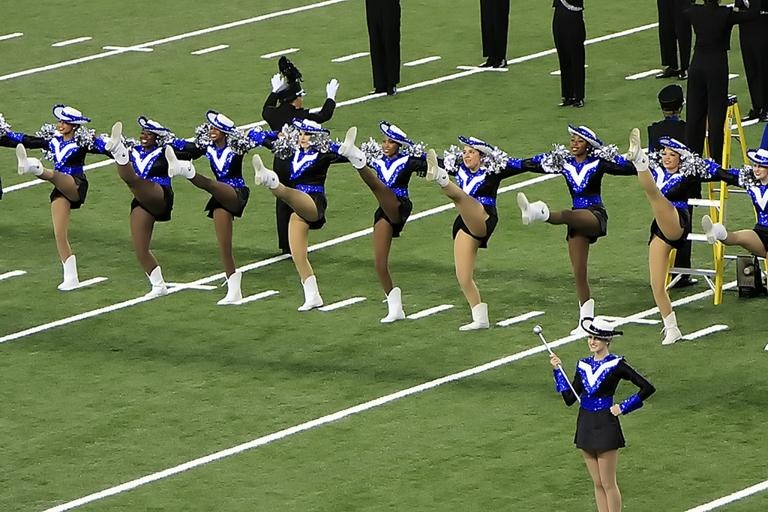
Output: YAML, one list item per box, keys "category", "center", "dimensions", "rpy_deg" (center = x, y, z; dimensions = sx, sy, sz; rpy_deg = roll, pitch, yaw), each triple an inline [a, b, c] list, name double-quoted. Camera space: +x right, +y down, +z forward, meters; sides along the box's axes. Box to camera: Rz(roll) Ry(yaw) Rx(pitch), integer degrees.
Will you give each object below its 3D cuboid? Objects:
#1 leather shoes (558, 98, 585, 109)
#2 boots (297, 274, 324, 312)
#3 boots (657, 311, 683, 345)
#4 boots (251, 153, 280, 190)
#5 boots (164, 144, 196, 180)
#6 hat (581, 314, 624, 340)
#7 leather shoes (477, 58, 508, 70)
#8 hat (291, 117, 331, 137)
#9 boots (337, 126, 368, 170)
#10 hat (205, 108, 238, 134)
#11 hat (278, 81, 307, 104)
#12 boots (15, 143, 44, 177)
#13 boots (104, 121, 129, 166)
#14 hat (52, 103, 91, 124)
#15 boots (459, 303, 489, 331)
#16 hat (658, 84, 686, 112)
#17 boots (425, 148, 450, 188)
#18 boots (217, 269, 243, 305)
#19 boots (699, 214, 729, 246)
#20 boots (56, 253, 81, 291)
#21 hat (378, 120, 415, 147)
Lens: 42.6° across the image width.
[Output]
- category: "leather shoes"
  center: [3.233, -2.630, 16.970]
  dimensions: [0.532, 0.163, 0.150]
  rpy_deg: [2, 11, 6]
- category: "boots"
  center: [-0.885, 0.413, 11.694]
  dimensions: [0.285, 0.400, 0.405]
  rpy_deg: [-7, 11, 1]
- category: "boots"
  center: [3.023, 0.724, 10.371]
  dimensions: [0.212, 0.321, 0.394]
  rpy_deg: [-4, 11, 15]
- category: "boots"
  center: [-1.327, -0.940, 11.095]
  dimensions: [0.263, 0.429, 0.571]
  rpy_deg: [-9, 11, -5]
- category: "boots"
  center: [-2.360, -1.078, 11.400]
  dimensions: [0.312, 0.404, 0.368]
  rpy_deg: [-9, 11, -10]
- category: "hat"
  center: [1.710, 0.547, 7.692]
  dimensions: [0.395, 0.108, 0.384]
  rpy_deg: [15, 11, 19]
- category: "leather shoes"
  center: [2.130, -3.692, 19.039]
  dimensions: [0.505, 0.135, 0.214]
  rpy_deg: [5, 26, 1]
- category: "hat"
  center: [-0.867, -1.538, 11.660]
  dimensions: [0.351, 0.076, 0.281]
  rpy_deg: [14, 6, 9]
- category: "boots"
  center: [-0.362, -1.206, 11.079]
  dimensions: [0.313, 0.465, 0.407]
  rpy_deg: [-8, 11, -1]
- category: "hat"
  center: [-1.988, -1.620, 11.966]
  dimensions: [0.433, 0.101, 0.385]
  rpy_deg: [25, 18, -19]
- category: "hat"
  center: [-1.223, -2.142, 12.932]
  dimensions: [0.375, 0.165, 0.246]
  rpy_deg: [-25, 19, 8]
- category: "boots"
  center: [-4.399, -1.187, 12.263]
  dimensions: [0.252, 0.250, 0.652]
  rpy_deg: [16, 21, 7]
- category: "boots"
  center: [-3.165, -1.344, 11.649]
  dimensions: [0.264, 0.549, 0.293]
  rpy_deg: [-13, -18, 36]
- category: "hat"
  center: [-4.053, -1.827, 12.768]
  dimensions: [0.378, 0.260, 0.571]
  rpy_deg: [-8, 11, -15]
- category: "boots"
  center: [0.997, 0.655, 10.971]
  dimensions: [0.343, 0.297, 0.218]
  rpy_deg: [-5, 11, 5]
- category: "hat"
  center: [3.362, -1.819, 11.491]
  dimensions: [0.325, 0.207, 0.341]
  rpy_deg: [-3, 49, 23]
- category: "boots"
  center: [0.515, -0.922, 10.455]
  dimensions: [0.203, 0.442, 0.236]
  rpy_deg: [-7, 1, 18]
- category: "boots"
  center: [-1.863, 0.366, 11.967]
  dimensions: [0.285, 0.376, 0.436]
  rpy_deg: [-6, 11, 7]
- category: "boots"
  center: [3.371, -0.273, 10.041]
  dimensions: [0.179, 0.446, 0.193]
  rpy_deg: [-16, 37, 24]
- category: "boots"
  center: [-4.025, 0.189, 12.489]
  dimensions: [0.260, 0.427, 0.441]
  rpy_deg: [-10, 12, -14]
- category: "hat"
  center: [0.193, -1.373, 11.323]
  dimensions: [0.443, 0.107, 0.395]
  rpy_deg: [21, 5, -30]
